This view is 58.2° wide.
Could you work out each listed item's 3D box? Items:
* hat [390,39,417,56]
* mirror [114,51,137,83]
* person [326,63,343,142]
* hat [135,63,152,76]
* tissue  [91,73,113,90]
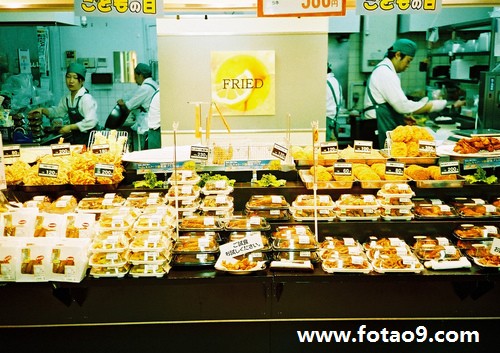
[{"bbox_3d":[3.119,-2.636,9.167,0.472,0.250,0.305,6,47,-11],"label":"hat"},{"bbox_3d":[-2.508,-2.237,8.997,0.606,0.745,0.078,1,8,-1],"label":"mirror"},{"bbox_3d":[1.739,-1.560,9.415,0.387,1.606,0.099,-7,15,-3],"label":"person"},{"bbox_3d":[-2.153,-2.158,9.017,0.303,0.103,0.212,27,47,14],"label":"hat"},{"bbox_3d":[-2.982,-1.949,9.044,0.313,0.253,0.155,2,23,-3],"label":"tissue "}]
